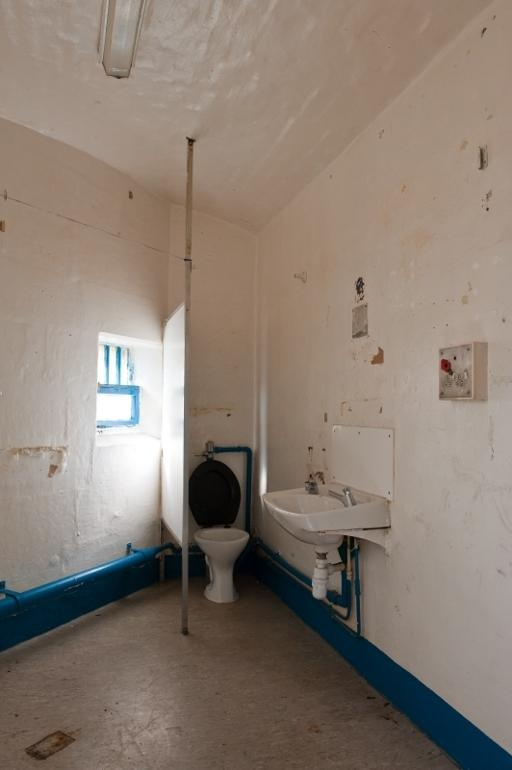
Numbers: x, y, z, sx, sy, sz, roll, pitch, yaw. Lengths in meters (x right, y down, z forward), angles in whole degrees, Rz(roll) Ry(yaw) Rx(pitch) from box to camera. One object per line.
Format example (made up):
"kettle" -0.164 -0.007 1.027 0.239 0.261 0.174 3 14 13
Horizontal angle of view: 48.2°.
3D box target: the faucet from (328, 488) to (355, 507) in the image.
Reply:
"faucet" 0.341 0.438 2.239 0.032 0.052 0.118 0 5 -12

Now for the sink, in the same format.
"sink" 0.236 0.501 2.252 0.394 0.194 0.520 0 2 -14

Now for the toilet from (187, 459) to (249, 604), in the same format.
"toilet" -0.207 0.753 3.066 0.300 0.672 0.575 0 1 -7
